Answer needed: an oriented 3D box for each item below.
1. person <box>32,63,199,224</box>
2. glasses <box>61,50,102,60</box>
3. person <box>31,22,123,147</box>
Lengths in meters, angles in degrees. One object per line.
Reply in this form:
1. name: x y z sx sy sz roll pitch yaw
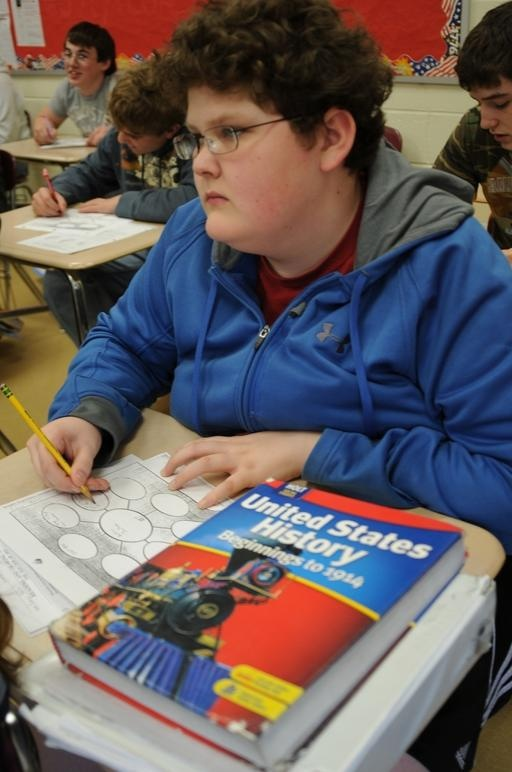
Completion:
1. person: -0.478 -0.987 2.474 0.567 0.570 0.732 31 35 29
2. glasses: -1.207 -2.293 4.107 0.122 0.042 0.129 11 22 19
3. person: -1.263 -2.195 4.358 0.643 0.867 0.616 16 42 6
